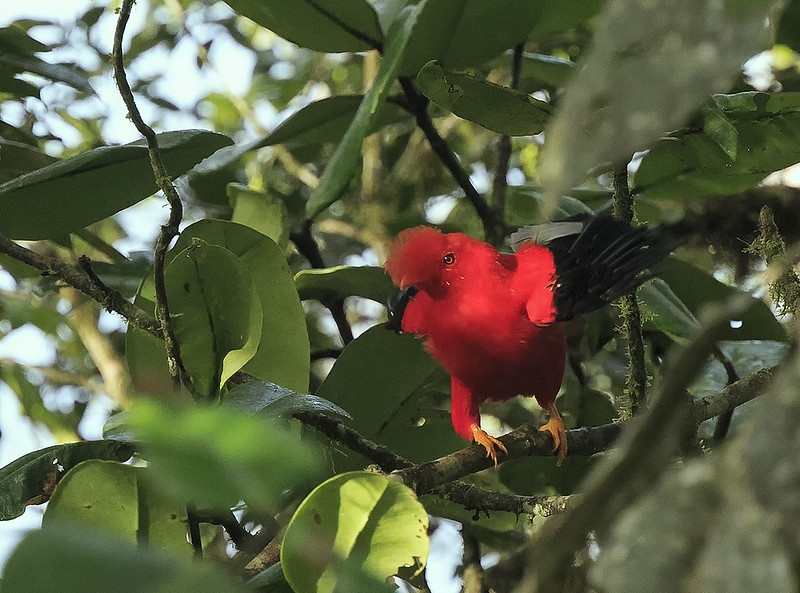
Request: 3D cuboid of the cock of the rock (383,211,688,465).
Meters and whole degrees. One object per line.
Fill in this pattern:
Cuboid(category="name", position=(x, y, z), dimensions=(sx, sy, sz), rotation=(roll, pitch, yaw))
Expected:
Cuboid(category="cock of the rock", position=(0.111, 0.026, 1.177), dimensions=(0.255, 0.212, 0.324), rotation=(1, -53, -4))
